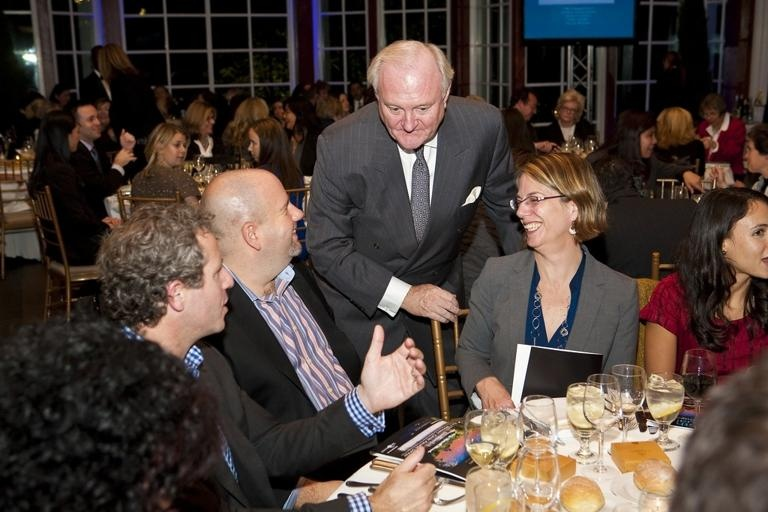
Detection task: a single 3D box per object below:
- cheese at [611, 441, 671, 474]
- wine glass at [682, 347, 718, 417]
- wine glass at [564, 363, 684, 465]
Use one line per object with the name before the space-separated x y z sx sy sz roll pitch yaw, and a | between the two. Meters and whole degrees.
cheese | 0.759 0.589 1.731 0.087 0.029 0.091 -4 6 -6
wine glass | 1.069 0.432 1.966 0.103 0.214 0.223 5 11 30
wine glass | 0.701 0.436 1.834 0.291 0.330 0.295 -3 15 -19
